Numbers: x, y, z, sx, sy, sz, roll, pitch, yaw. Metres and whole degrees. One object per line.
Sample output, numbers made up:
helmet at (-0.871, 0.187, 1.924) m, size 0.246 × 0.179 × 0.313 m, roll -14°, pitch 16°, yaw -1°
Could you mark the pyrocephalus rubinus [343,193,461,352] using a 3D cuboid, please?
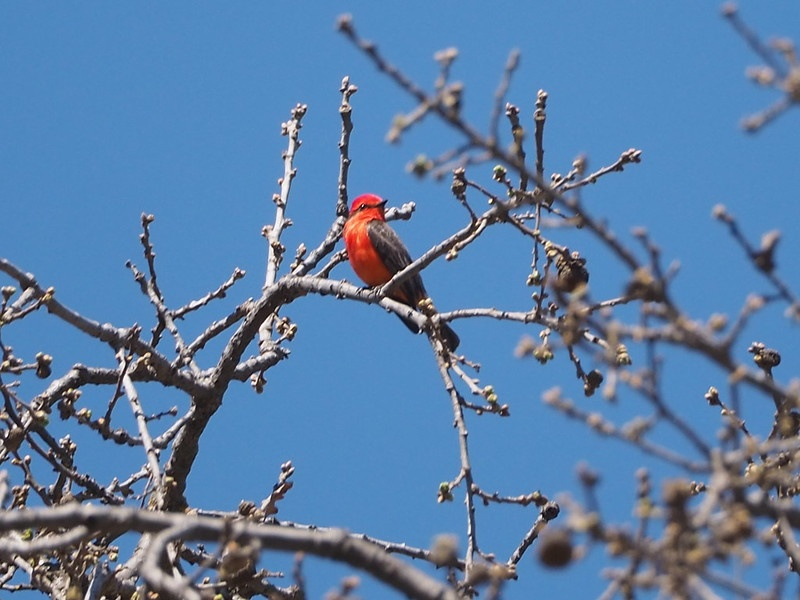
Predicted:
pyrocephalus rubinus at (-0.029, -0.167, 8.076) m, size 0.309 × 1.031 × 0.458 m, roll -29°, pitch -31°, yaw -19°
